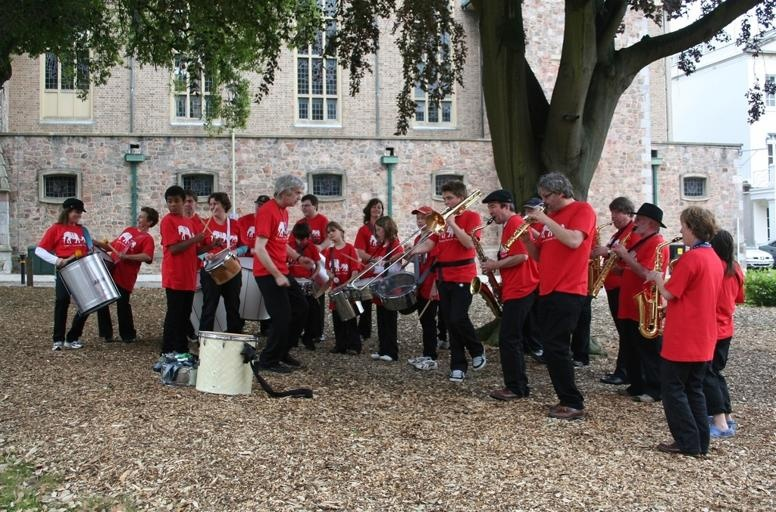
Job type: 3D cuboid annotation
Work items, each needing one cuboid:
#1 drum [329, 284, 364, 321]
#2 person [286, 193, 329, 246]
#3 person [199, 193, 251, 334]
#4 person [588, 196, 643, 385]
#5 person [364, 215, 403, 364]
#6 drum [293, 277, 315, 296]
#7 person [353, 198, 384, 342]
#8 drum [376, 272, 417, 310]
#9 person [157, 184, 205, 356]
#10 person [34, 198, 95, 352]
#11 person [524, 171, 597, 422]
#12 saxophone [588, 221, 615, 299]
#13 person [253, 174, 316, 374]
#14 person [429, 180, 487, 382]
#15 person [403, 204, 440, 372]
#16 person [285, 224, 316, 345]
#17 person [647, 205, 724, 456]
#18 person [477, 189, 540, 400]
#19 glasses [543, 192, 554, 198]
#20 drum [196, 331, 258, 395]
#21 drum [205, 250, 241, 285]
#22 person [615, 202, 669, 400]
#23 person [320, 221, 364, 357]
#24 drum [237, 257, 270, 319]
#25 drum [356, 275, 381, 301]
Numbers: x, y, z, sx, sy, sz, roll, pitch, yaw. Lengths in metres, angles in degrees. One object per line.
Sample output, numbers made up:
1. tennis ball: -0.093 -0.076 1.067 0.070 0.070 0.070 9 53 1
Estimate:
1. drum: -0.617 0.713 12.967 0.575 0.548 0.429 -27 -2 -1
2. person: -1.375 -0.430 14.387 0.915 1.212 0.675 1 3 15
3. person: -2.604 0.131 13.337 0.758 2.134 0.748 1 -2 -4
4. person: 3.424 0.492 12.493 0.731 2.761 0.816 1 -4 9
5. person: -0.078 0.521 13.531 0.719 2.334 0.712 -2 5 -23
6. drum: -1.327 0.478 13.270 0.295 0.108 0.267 0 2 -1
7. person: -0.159 0.337 14.126 0.588 2.451 0.644 4 -2 -17
8. drum: 0.116 0.538 12.700 0.647 0.597 0.461 0 3 4
9. person: -3.181 0.189 12.793 0.673 2.495 0.517 -3 4 -34
10. person: -5.157 0.309 13.545 1.068 2.368 0.726 -5 6 -42
11. person: 2.329 0.527 11.224 0.794 3.265 0.451 0 3 13
12. saxophone: 3.238 0.094 12.866 0.387 1.246 0.380 2 1 -27
13. person: -1.583 0.280 12.434 1.090 2.725 0.931 0 -2 1
14. person: 1.052 0.293 12.565 0.988 2.629 0.998 0 1 -37
15. person: 0.606 0.564 13.143 0.674 2.260 0.694 2 0 10
16. person: -1.348 0.439 13.373 0.561 1.770 0.593 -1 -4 38
17. person: 3.636 0.933 10.690 1.155 2.696 1.004 0 1 37
18. person: 1.889 0.476 12.236 1.071 2.647 1.003 0 1 -24
19. glasses: 2.141 -0.819 11.292 0.096 0.071 0.076 17 -15 -41
20. drum: -2.264 1.457 11.760 0.814 0.740 0.809 3 1 -12
21. drum: -2.511 0.182 12.780 0.519 0.366 0.517 -22 26 12
22. person: 3.474 0.663 11.762 1.001 2.663 0.982 0 1 -22
23. person: -0.822 0.543 13.738 0.641 1.998 0.708 -1 -3 19
24. drum: -2.230 0.487 13.611 0.744 1.024 0.441 2 -1 3
25. drum: -0.297 0.490 12.824 0.292 0.185 0.382 -3 3 7
